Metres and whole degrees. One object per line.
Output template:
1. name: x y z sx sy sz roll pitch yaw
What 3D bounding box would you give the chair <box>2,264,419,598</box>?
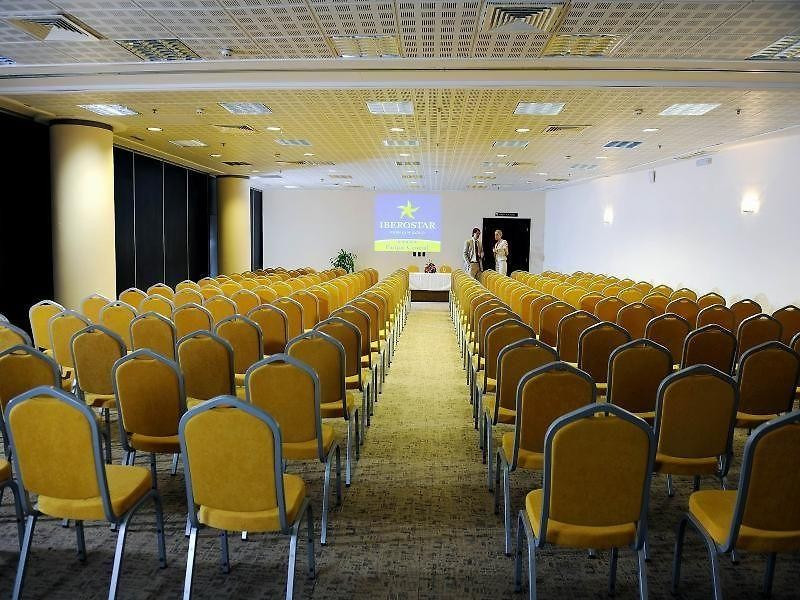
1. chair: -1.114 0.959 3.636 1.156 0.981 2.188 0 0 5
